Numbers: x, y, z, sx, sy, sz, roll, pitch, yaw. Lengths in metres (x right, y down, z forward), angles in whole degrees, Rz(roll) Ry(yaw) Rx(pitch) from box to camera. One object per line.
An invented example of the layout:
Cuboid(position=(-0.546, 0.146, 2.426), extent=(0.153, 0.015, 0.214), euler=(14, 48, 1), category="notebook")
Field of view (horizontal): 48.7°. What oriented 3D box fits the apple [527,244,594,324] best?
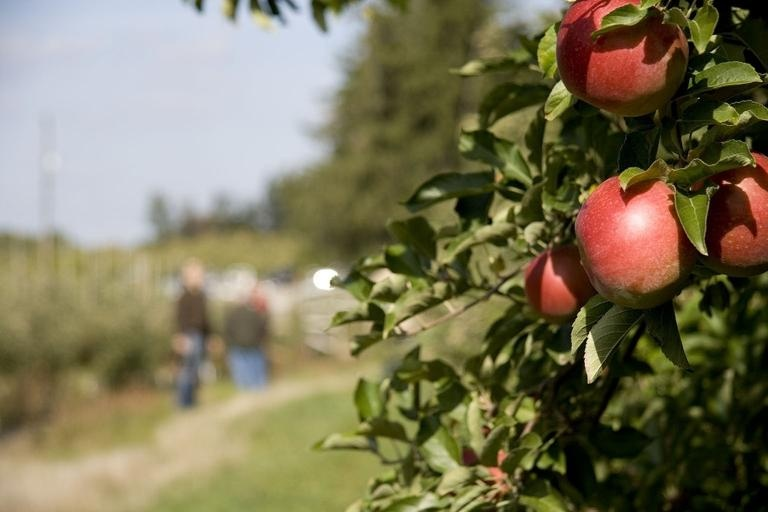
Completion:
Cuboid(position=(0.343, 0.050, 1.708), extent=(0.123, 0.171, 0.137), euler=(-4, 21, 5), category="apple")
